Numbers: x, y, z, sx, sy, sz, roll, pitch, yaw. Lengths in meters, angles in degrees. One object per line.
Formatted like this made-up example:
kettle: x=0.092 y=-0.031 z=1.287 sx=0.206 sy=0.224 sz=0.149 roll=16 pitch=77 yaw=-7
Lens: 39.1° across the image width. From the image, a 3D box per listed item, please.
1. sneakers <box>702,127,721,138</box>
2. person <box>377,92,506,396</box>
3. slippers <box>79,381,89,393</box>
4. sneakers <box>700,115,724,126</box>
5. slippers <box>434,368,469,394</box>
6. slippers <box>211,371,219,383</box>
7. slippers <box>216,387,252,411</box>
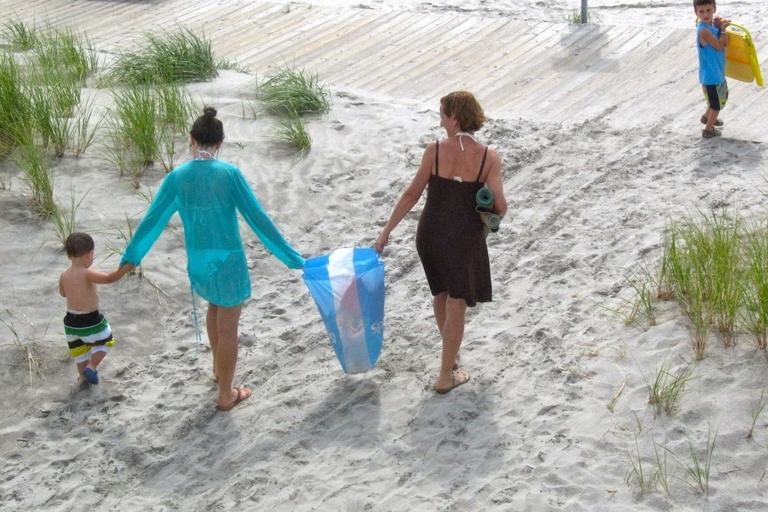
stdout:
sneakers: x=4.041 y=-1.527 z=13.510 sx=0.203 sy=0.091 sz=0.100 roll=-22 pitch=34 yaw=-37
person: x=0.684 y=-0.128 z=10.933 sx=0.940 sy=2.929 sz=0.631 roll=-13 pitch=23 yaw=-25
slippers: x=-3.111 y=1.365 z=11.318 sx=0.089 sy=0.104 sz=0.104 roll=4 pitch=6 yaw=-7
sneakers: x=4.104 y=-1.730 z=13.618 sx=0.313 sy=0.143 sz=0.124 roll=-1 pitch=55 yaw=1
slippers: x=0.715 y=1.285 z=11.176 sx=0.397 sy=0.175 sz=0.172 roll=-34 pitch=49 yaw=-22
slippers: x=-1.762 y=1.277 z=11.366 sx=0.053 sy=0.163 sz=0.062 roll=-3 pitch=2 yaw=23
slippers: x=-1.535 y=1.488 z=11.160 sx=0.165 sy=0.111 sz=0.368 roll=25 pitch=51 yaw=23
